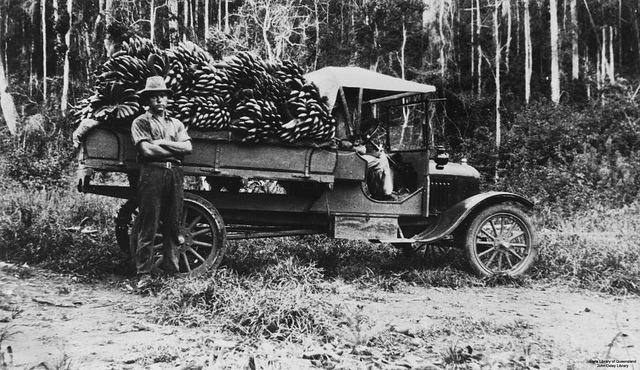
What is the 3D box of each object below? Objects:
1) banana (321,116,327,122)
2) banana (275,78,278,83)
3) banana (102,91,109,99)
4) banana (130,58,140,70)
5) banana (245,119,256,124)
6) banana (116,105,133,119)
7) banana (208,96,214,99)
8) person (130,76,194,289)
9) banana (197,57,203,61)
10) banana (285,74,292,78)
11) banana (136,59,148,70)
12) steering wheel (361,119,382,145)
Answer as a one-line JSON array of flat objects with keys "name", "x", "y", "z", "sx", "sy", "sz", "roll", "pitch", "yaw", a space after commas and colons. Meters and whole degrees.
[{"name": "banana", "x": 0.076, "y": -1.207, "z": 10.134, "sx": 0.050, "sy": 0.091, "sz": 0.023, "roll": -22, "pitch": 34, "yaw": 16}, {"name": "banana", "x": -0.788, "y": -1.873, "z": 9.960, "sx": 0.058, "sy": 0.057, "sz": 0.016, "roll": 1, "pitch": -10, "yaw": -22}, {"name": "banana", "x": -3.736, "y": -1.555, "z": 9.564, "sx": 0.107, "sy": 0.118, "sz": 0.007, "roll": 1, "pitch": 2, "yaw": -7}, {"name": "banana", "x": -3.237, "y": -2.094, "z": 9.617, "sx": 0.142, "sy": 0.180, "sz": 0.024, "roll": 1, "pitch": 2, "yaw": -8}, {"name": "banana", "x": -1.233, "y": -1.108, "z": 9.792, "sx": 0.112, "sy": 0.061, "sz": 0.031, "roll": 10, "pitch": 8, "yaw": -18}, {"name": "banana", "x": -3.414, "y": -1.258, "z": 9.547, "sx": 0.232, "sy": 0.232, "sz": 0.084, "roll": -28, "pitch": 11, "yaw": -14}, {"name": "banana", "x": -1.933, "y": -1.536, "z": 9.746, "sx": 0.062, "sy": 0.017, "sz": 0.011, "roll": 22, "pitch": -31, "yaw": -13}, {"name": "person", "x": -2.767, "y": -0.043, "z": 9.549, "sx": 1.011, "sy": 3.575, "sz": 0.568, "roll": 1, "pitch": 3, "yaw": -14}, {"name": "banana", "x": -2.150, "y": -2.233, "z": 9.849, "sx": 0.088, "sy": 0.058, "sz": 0.026, "roll": 0, "pitch": 3, "yaw": -16}, {"name": "banana", "x": -0.572, "y": -1.974, "z": 10.056, "sx": 0.127, "sy": 0.062, "sz": 0.027, "roll": 1, "pitch": 3, "yaw": -5}, {"name": "banana", "x": -3.117, "y": -2.098, "z": 9.642, "sx": 0.077, "sy": 0.278, "sz": 0.060, "roll": -22, "pitch": -22, "yaw": -49}, {"name": "steering wheel", "x": 1.040, "y": -1.045, "z": 10.964, "sx": 0.165, "sy": 0.504, "sz": 0.697, "roll": 3, "pitch": 4, "yaw": 30}]
